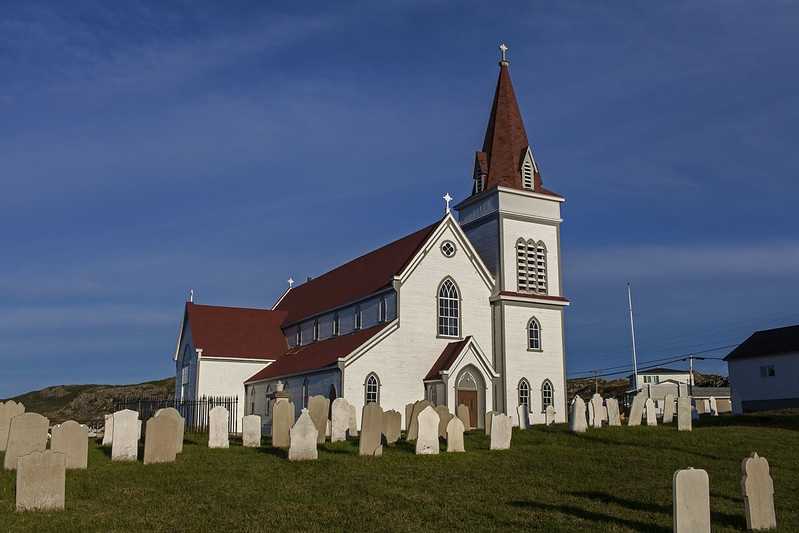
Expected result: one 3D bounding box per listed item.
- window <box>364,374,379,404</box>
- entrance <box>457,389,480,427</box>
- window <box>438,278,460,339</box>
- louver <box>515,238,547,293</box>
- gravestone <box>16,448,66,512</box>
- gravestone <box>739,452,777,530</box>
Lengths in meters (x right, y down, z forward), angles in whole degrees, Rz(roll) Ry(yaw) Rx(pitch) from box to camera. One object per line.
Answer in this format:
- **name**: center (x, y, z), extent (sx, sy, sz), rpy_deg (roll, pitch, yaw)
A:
- **window**: center (-1.727, 7.752, 44.899), extent (1.053, 1.900, 0.429), rpy_deg (3, -16, -17)
- **entrance**: center (4.560, 9.167, 45.420), extent (1.032, 2.387, 1.941), rpy_deg (-8, -17, 22)
- **window**: center (3.350, 2.834, 48.293), extent (1.924, 4.208, 0.219), rpy_deg (3, 7, 37)
- **louver**: center (9.406, 0.084, 50.939), extent (3.452, 5.115, 0.426), rpy_deg (7, -16, -30)
- **gravestone**: center (-11.125, 6.648, 21.942), extent (1.420, 1.785, 0.452), rpy_deg (6, -17, -25)
- **gravestone**: center (10.976, 6.856, 21.532), extent (1.279, 2.263, 0.560), rpy_deg (6, -17, -26)
